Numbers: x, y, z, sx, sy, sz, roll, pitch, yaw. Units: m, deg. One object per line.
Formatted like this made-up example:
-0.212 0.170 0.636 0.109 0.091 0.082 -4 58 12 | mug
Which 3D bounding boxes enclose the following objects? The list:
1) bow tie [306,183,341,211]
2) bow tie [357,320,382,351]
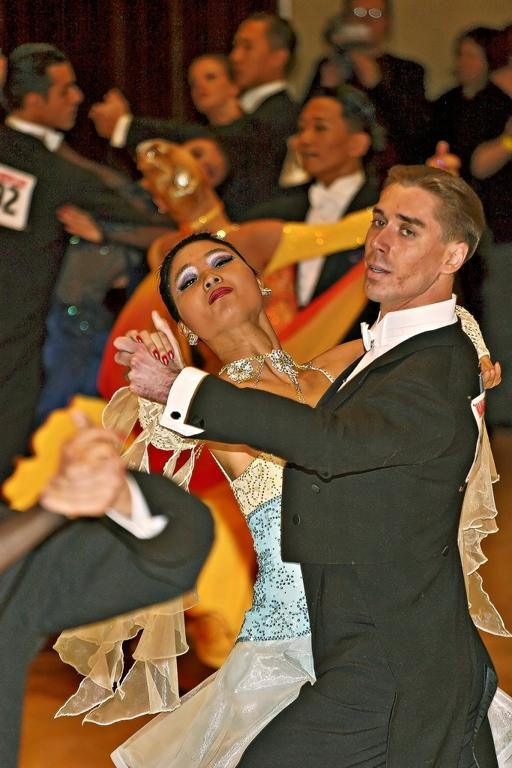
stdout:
0.283 -0.813 3.291 0.121 0.098 0.031 3 17 28 | bow tie
0.267 -0.111 1.772 0.065 0.066 0.040 -1 -3 -9 | bow tie
